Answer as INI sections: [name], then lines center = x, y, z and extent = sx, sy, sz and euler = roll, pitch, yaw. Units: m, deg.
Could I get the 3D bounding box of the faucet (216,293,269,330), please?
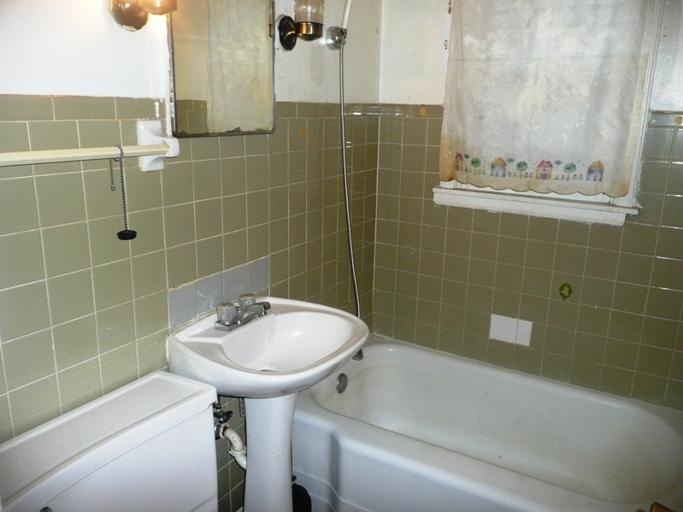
[faucet]
center = -0.375, 0.203, 2.006
extent = 0.103, 0.065, 0.167
euler = 5, 12, 19

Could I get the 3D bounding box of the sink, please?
[sink]
center = -0.246, 0.375, 1.967
extent = 0.583, 0.227, 0.626
euler = 16, 23, 36
